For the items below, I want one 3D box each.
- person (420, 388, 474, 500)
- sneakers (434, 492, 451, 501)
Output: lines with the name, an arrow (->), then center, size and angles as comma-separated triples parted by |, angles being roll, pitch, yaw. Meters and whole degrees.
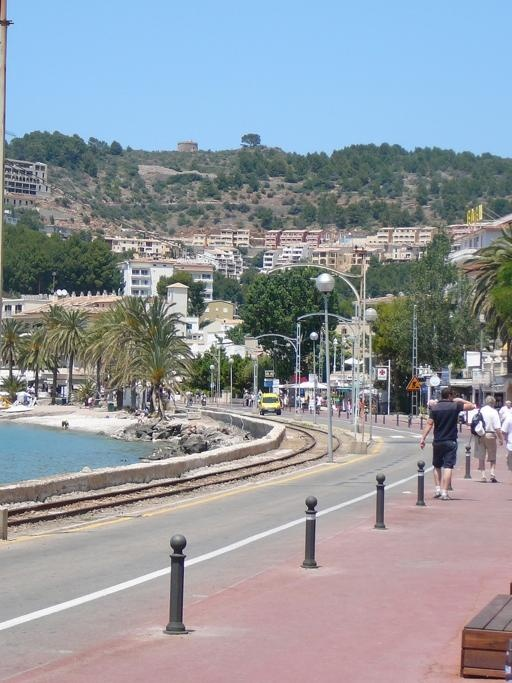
person -> 2.895, 1.572, 20.950 | 0.726, 1.686, 3.018 | 0, -3, 7
sneakers -> 2.842, 2.378, 21.005 | 0.156, 0.082, 0.215 | 3, 2, 12
